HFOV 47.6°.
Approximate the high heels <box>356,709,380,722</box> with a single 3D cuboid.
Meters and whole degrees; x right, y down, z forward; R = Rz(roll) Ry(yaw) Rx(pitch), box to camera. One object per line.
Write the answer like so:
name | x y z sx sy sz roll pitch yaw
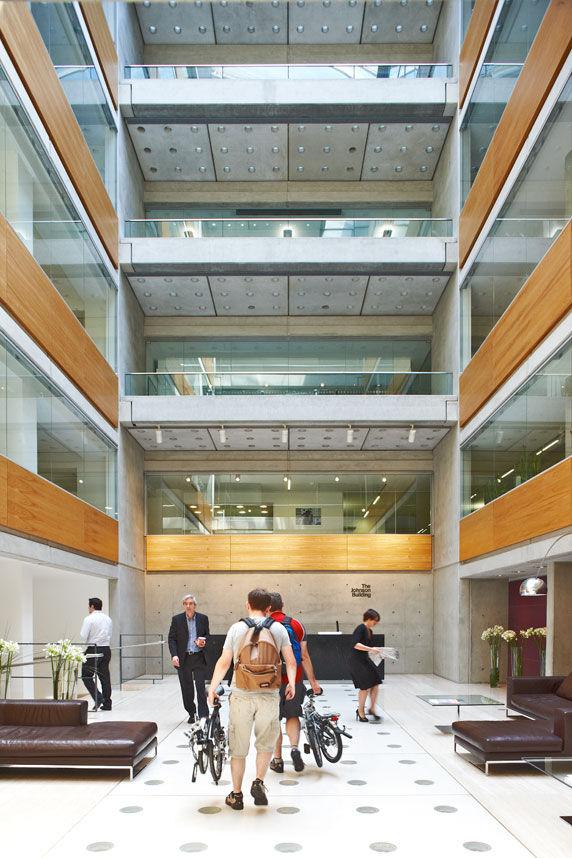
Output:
high heels | 1.100 3.865 8.709 0.186 0.119 0.326 5 -13 -22
